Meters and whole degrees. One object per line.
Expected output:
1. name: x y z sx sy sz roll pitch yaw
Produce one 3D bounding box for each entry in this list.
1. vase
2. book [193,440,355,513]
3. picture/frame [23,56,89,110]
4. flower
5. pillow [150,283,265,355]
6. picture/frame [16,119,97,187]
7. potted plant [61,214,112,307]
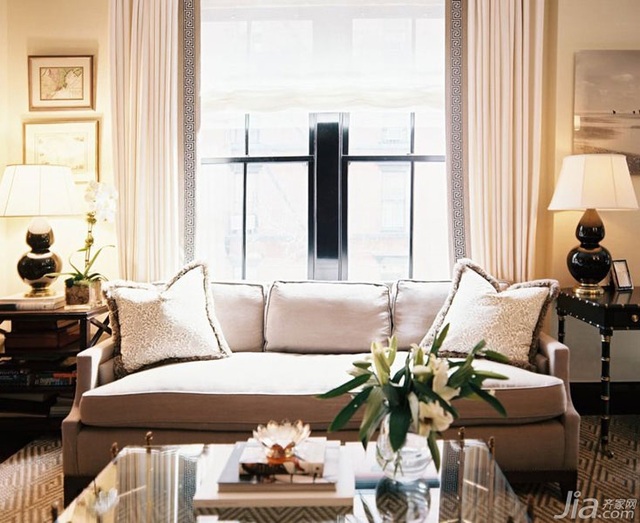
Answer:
1. vase: 0.332 0.782 2.500 0.240 0.249 0.250 4 -5 4
2. book: -0.193 0.903 2.465 0.660 0.133 0.382 0 7 6
3. picture/frame: -1.727 -1.207 4.062 0.340 0.298 0.028 0 3 3
4. flower: 0.357 0.540 2.360 0.689 0.556 0.291 1 7 18
5. pillow: -0.653 0.347 3.482 0.377 0.412 0.140 1 -22 -13
6. picture/frame: -1.692 -0.715 3.985 0.489 0.434 0.033 0 7 2
7. potted plant: -1.415 0.017 3.729 0.281 0.597 0.333 6 -4 38
